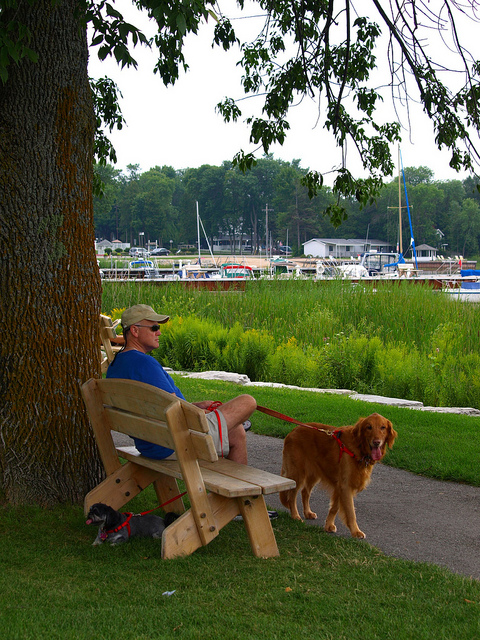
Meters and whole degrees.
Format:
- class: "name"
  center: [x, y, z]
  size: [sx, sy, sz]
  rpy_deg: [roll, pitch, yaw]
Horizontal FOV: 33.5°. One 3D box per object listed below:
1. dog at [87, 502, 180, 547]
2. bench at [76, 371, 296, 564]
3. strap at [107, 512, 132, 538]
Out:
- class: "dog"
  center: [-0.697, 1.359, 5.283]
  size: [0.577, 0.331, 0.271]
  rpy_deg: [2, -13, -27]
- class: "bench"
  center: [-0.456, 0.895, 5.200]
  size: [0.729, 1.233, 1.351]
  rpy_deg: [-10, 10, -40]
- class: "strap"
  center: [-0.742, 1.333, 5.170]
  size: [0.109, 0.096, 0.030]
  rpy_deg: [-33, -16, -22]
